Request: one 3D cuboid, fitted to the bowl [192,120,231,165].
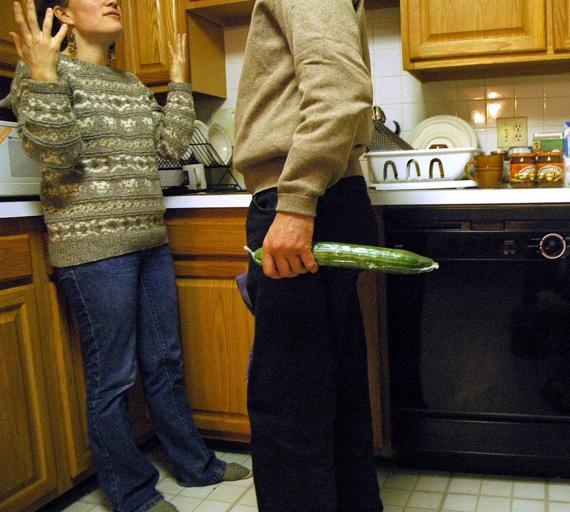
[{"bbox_3d":[-0.354,-0.506,2.327,0.049,0.190,0.208,-7,4,39],"label":"bowl"}]

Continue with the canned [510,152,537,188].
[{"bbox_3d":[0.750,-0.279,1.630,0.069,0.109,0.119,-2,10,15],"label":"canned"}]

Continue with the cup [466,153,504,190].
[{"bbox_3d":[0.625,-0.273,1.662,0.111,0.107,0.153,-1,2,-3],"label":"cup"}]

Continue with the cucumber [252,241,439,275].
[{"bbox_3d":[0.109,0.004,1.008,0.447,0.063,0.065,3,17,9],"label":"cucumber"}]

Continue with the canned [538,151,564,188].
[{"bbox_3d":[0.800,-0.270,1.611,0.109,0.108,0.104,1,2,16],"label":"canned"}]
